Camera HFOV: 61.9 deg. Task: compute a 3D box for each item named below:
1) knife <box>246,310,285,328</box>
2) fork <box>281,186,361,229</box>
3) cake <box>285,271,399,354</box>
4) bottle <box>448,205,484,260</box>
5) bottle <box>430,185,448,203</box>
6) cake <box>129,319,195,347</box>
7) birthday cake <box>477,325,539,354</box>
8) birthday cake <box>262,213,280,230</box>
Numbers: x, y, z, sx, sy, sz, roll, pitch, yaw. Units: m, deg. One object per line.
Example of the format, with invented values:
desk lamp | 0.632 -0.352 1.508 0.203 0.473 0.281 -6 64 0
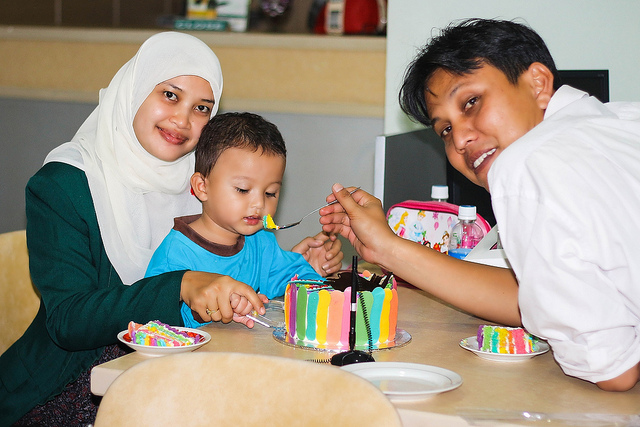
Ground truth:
knife | -0.149 0.319 1.542 0.043 0.038 0.222 -1 -17 22
fork | -0.006 -0.033 2.493 0.376 0.044 0.045 -36 36 -2
cake | 0.040 0.239 1.539 0.327 0.206 0.328 -2 12 -27
bottle | 0.519 0.071 1.928 0.114 0.222 0.120 2 33 -1
bottle | 0.473 -0.075 2.108 0.057 0.059 0.059 1 2 -2
cake | -0.404 0.299 1.324 0.082 0.026 0.087 11 1 3
birthday cake | 0.491 0.301 1.398 0.128 0.065 0.128 -8 10 1
birthday cake | -0.165 0.030 1.773 0.056 0.043 0.029 31 -9 -17
